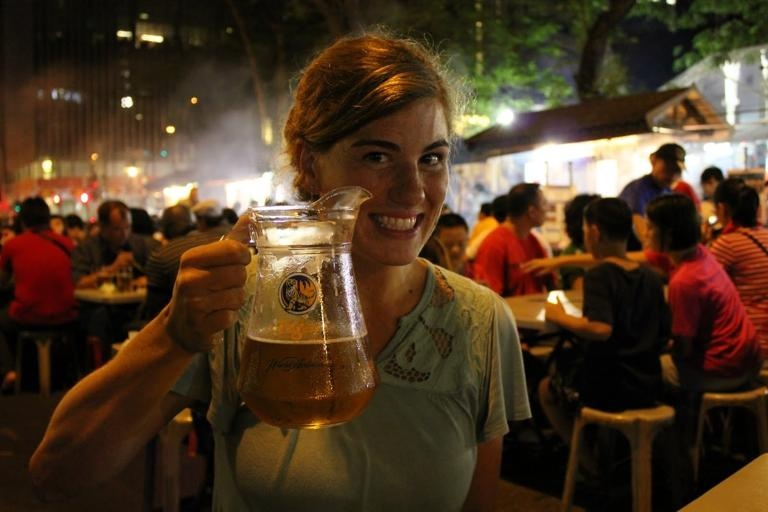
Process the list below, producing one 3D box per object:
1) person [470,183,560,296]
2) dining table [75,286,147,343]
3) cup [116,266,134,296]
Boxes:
[{"bbox_3d":[1.587,-0.172,7.894,0.844,2.217,1.187,-2,13,12],"label":"person"},{"bbox_3d":[-3.189,0.807,8.205,0.822,0.770,0.837,6,6,43],"label":"dining table"},{"bbox_3d":[-3.036,0.313,7.981,0.252,0.377,0.259,0,1,0],"label":"cup"}]
